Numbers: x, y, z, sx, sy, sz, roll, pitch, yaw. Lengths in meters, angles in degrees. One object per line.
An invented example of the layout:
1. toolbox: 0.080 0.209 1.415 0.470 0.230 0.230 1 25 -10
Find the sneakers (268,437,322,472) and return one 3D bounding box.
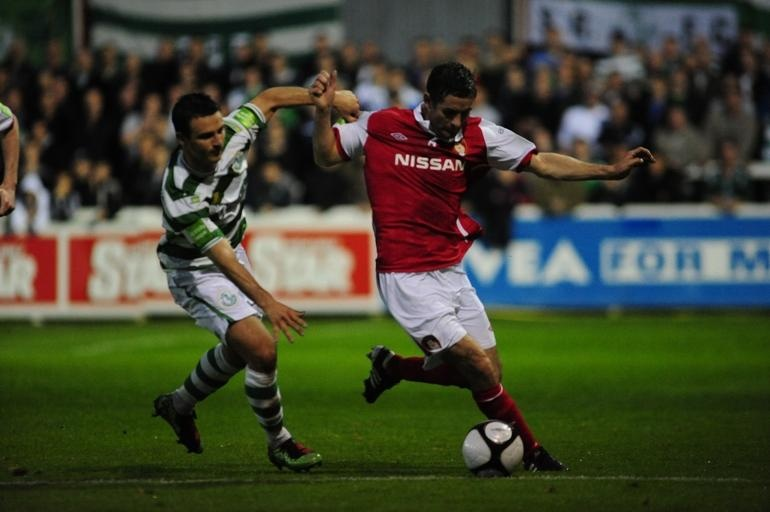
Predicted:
1. sneakers: -0.830 1.847 10.527 0.527 0.277 0.215 0 -1 16

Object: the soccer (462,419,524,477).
1. soccer: 0.996 1.754 10.422 0.563 0.444 0.306 -1 11 -1
